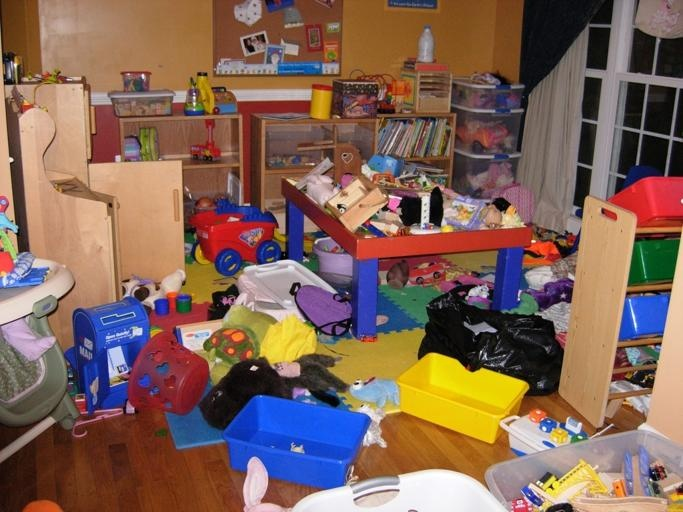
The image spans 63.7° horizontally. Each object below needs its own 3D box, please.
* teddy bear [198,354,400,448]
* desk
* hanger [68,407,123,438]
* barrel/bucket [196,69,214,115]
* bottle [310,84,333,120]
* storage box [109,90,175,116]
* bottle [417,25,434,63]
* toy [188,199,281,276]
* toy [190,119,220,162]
[{"bbox_3d":[-0.176,0.651,2.647,0.643,0.169,0.445,5,19,3],"label":"teddy bear"},{"bbox_3d":[0.493,-0.293,3.443,1.065,0.559,1.526,-4,19,-20],"label":"desk"},{"bbox_3d":[-1.137,0.759,2.538,0.074,0.036,0.202,20,27,39],"label":"hanger"},{"bbox_3d":[-1.151,-1.378,4.639,0.176,0.343,0.161,1,16,0],"label":"barrel/bucket"},{"bbox_3d":[-0.178,-1.357,4.822,0.185,0.287,0.249,0,16,-2],"label":"bottle"},{"bbox_3d":[-1.609,-1.199,4.418,0.391,0.142,0.261,-4,13,-19],"label":"storage box"},{"bbox_3d":[0.773,-1.916,4.963,0.166,0.321,0.137,-2,16,-11],"label":"bottle"},{"bbox_3d":[-0.832,-0.165,4.210,0.604,0.427,0.483,-5,14,-38],"label":"toy"},{"bbox_3d":[-1.188,-1.020,4.813,0.256,0.355,0.169,-3,17,-15],"label":"toy"}]
